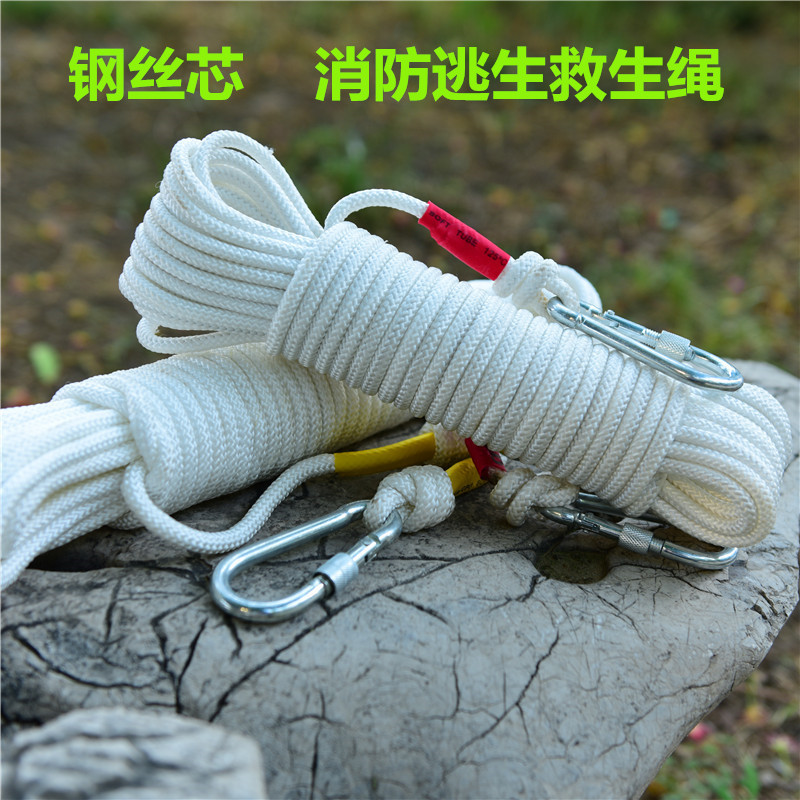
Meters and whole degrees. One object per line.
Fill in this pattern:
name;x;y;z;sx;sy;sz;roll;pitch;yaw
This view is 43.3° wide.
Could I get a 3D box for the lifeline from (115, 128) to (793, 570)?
lifeline;0.092;-0.072;1.701;1.564;0.371;0.429;17;42;0
